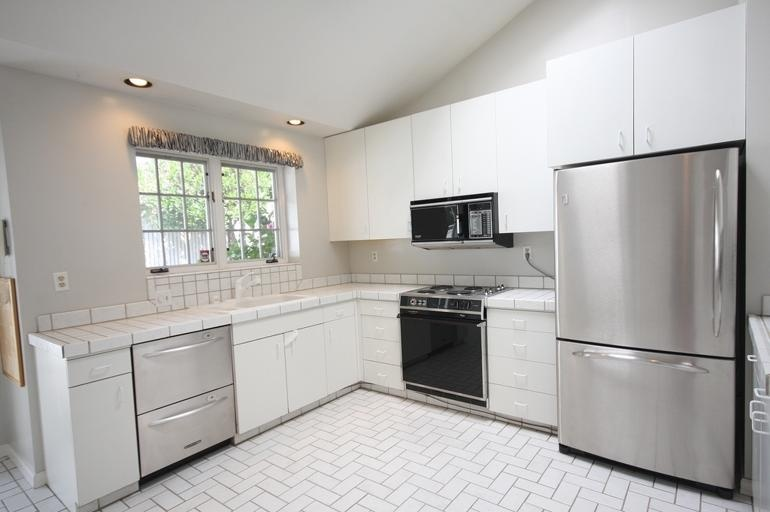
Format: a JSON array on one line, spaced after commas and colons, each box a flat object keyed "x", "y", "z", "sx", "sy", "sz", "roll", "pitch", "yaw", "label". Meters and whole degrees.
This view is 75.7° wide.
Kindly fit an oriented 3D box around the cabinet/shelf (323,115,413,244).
[{"x": -0.147, "y": -0.832, "z": 5.234, "sx": 1.353, "sy": 1.267, "sz": 0.512, "roll": 2, "pitch": 5, "yaw": 39, "label": "cabinet/shelf"}]

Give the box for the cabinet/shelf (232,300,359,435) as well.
[{"x": -0.947, "y": 0.968, "z": 4.781, "sx": 0.502, "sy": 0.988, "sz": 1.373, "roll": 3, "pitch": 9, "yaw": 42, "label": "cabinet/shelf"}]

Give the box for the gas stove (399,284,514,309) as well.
[{"x": 0.663, "y": 0.379, "z": 4.734, "sx": 0.894, "sy": 0.137, "sz": 0.601, "roll": -1, "pitch": 7, "yaw": 33, "label": "gas stove"}]

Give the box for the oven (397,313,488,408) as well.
[{"x": 0.610, "y": 0.832, "z": 4.851, "sx": 0.988, "sy": 0.938, "sz": 0.704, "roll": -1, "pitch": -2, "yaw": 34, "label": "oven"}]

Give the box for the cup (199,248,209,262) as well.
[{"x": -1.713, "y": -0.001, "z": 4.711, "sx": 0.101, "sy": 0.155, "sz": 0.102, "roll": 0, "pitch": -1, "yaw": 0, "label": "cup"}]

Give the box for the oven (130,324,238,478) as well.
[{"x": -1.732, "y": 1.126, "z": 4.342, "sx": 0.973, "sy": 1.276, "sz": 0.906, "roll": -2, "pitch": 0, "yaw": 37, "label": "oven"}]

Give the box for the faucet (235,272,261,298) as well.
[{"x": -1.353, "y": 0.279, "z": 4.888, "sx": 0.082, "sy": 0.238, "sz": 0.300, "roll": -1, "pitch": 7, "yaw": 30, "label": "faucet"}]
